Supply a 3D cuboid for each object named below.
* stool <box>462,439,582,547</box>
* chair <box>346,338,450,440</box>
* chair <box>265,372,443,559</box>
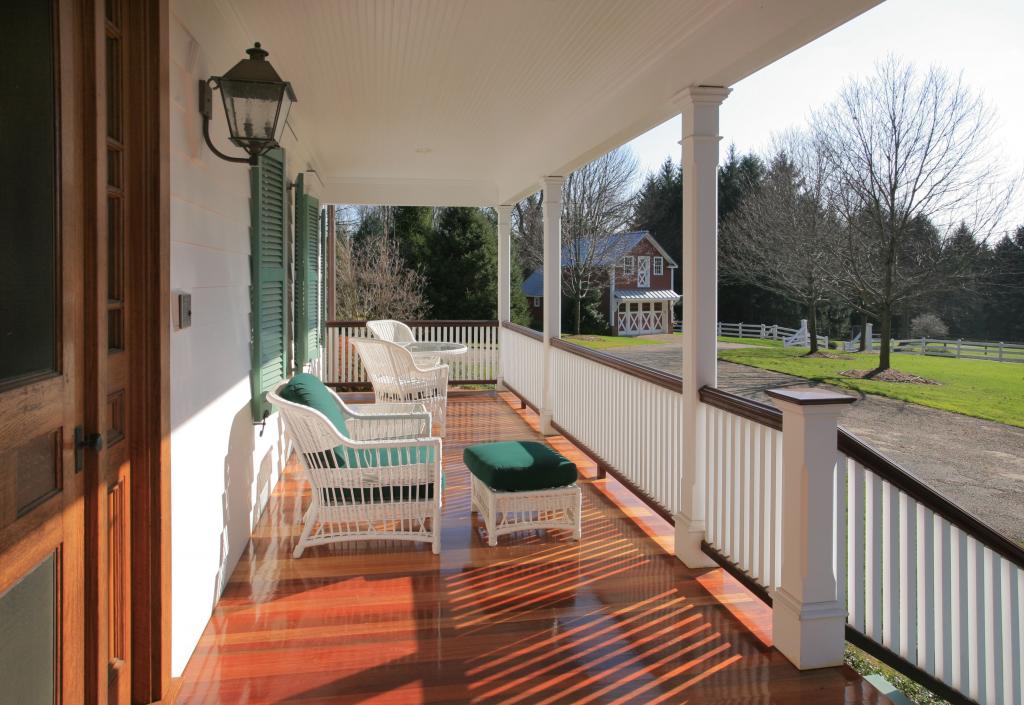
[{"bbox_3d":[0.091,0.900,4.911,0.603,0.520,0.780,-2,5,-15],"label":"stool"},{"bbox_3d":[-1.163,0.334,7.558,0.827,1.043,0.860,-3,7,-30],"label":"chair"},{"bbox_3d":[-1.026,0.688,4.810,1.106,1.025,0.974,-1,6,-14],"label":"chair"}]
